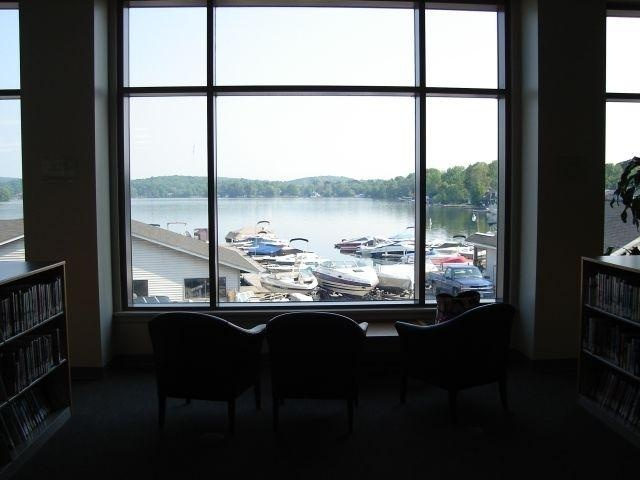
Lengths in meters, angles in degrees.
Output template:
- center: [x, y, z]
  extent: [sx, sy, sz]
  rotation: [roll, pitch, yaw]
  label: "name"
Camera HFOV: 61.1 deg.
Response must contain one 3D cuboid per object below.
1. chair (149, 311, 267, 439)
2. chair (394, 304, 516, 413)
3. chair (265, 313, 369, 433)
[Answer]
- center: [-1.071, 1.160, 5.261]
  extent: [0.973, 1.191, 1.058]
  rotation: [0, 1, 10]
  label: "chair"
- center: [1.340, 1.065, 5.383]
  extent: [1.051, 1.136, 1.010]
  rotation: [3, 2, 34]
  label: "chair"
- center: [-0.057, 1.131, 5.216]
  extent: [0.944, 1.244, 0.995]
  rotation: [1, 4, 3]
  label: "chair"
